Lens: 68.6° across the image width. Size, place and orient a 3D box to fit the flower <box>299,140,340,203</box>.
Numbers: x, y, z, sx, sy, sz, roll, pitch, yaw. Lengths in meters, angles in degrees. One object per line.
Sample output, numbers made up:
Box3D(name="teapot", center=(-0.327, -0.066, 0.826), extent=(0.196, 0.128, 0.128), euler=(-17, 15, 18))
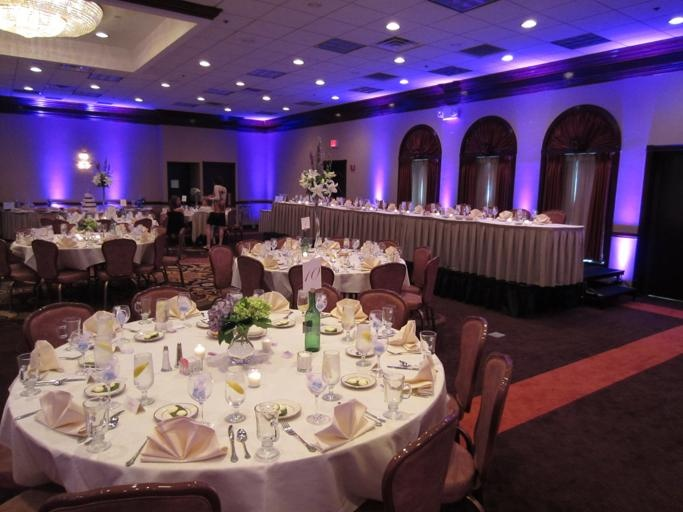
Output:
Box3D(name="flower", center=(-0.363, -1.224, 7.962), extent=(0.629, 1.013, 0.575), euler=(-18, 36, -39))

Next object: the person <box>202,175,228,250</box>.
Box3D(name="person", center=(-2.991, -1.012, 11.761), extent=(0.540, 1.709, 0.555), euler=(2, 3, -38))
